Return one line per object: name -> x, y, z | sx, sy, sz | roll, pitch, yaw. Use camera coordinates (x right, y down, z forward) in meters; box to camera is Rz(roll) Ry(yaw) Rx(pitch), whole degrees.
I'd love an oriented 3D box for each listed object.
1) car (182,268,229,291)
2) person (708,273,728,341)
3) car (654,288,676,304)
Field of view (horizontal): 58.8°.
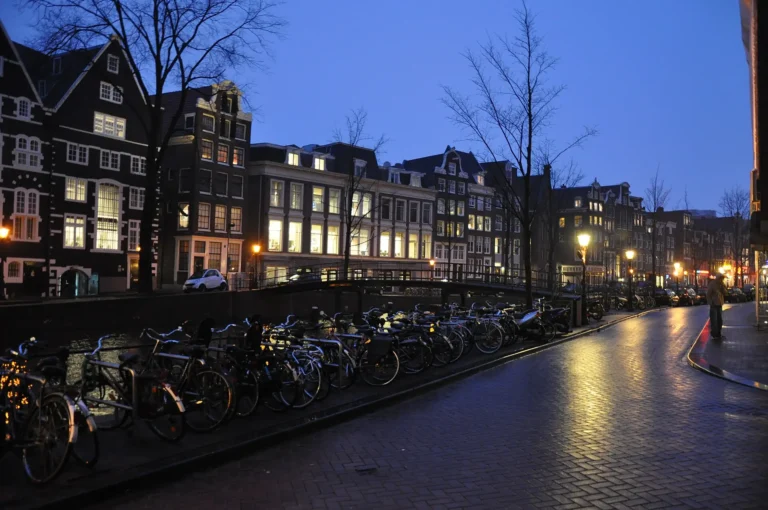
car -> -11.293, 1.576, 42.851 | 1.328, 1.129, 2.266 | -6, -11, 31
person -> 11.813, 1.822, 24.291 | 0.540, 2.229, 1.485 | -2, -3, 25
car -> 22.698, 3.358, 55.174 | 1.372, 1.142, 2.368 | -1, 2, 35
